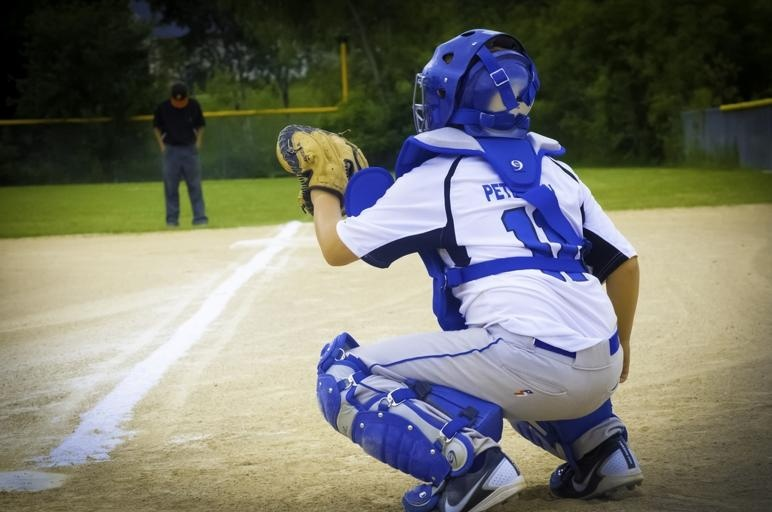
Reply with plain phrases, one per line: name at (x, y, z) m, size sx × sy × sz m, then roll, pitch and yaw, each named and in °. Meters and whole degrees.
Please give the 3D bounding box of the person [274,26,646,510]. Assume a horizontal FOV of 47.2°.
person at (0.392, 0.047, 3.971) m, size 1.493 × 2.093 × 0.539 m, roll -5°, pitch 6°, yaw -5°

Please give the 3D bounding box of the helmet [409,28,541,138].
helmet at (0.421, -0.794, 4.161) m, size 0.496 × 0.505 × 0.624 m, roll -3°, pitch 12°, yaw -33°

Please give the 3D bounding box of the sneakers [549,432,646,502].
sneakers at (0.975, 0.960, 4.006) m, size 0.442 × 0.212 × 0.227 m, roll -18°, pitch -4°, yaw 39°

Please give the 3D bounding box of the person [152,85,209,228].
person at (-1.207, -0.549, 5.274) m, size 0.282 × 0.759 × 0.207 m, roll -6°, pitch 6°, yaw -11°

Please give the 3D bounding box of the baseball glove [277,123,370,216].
baseball glove at (-0.324, -0.522, 4.181) m, size 0.361 × 0.163 × 0.274 m, roll -26°, pitch -9°, yaw -33°
